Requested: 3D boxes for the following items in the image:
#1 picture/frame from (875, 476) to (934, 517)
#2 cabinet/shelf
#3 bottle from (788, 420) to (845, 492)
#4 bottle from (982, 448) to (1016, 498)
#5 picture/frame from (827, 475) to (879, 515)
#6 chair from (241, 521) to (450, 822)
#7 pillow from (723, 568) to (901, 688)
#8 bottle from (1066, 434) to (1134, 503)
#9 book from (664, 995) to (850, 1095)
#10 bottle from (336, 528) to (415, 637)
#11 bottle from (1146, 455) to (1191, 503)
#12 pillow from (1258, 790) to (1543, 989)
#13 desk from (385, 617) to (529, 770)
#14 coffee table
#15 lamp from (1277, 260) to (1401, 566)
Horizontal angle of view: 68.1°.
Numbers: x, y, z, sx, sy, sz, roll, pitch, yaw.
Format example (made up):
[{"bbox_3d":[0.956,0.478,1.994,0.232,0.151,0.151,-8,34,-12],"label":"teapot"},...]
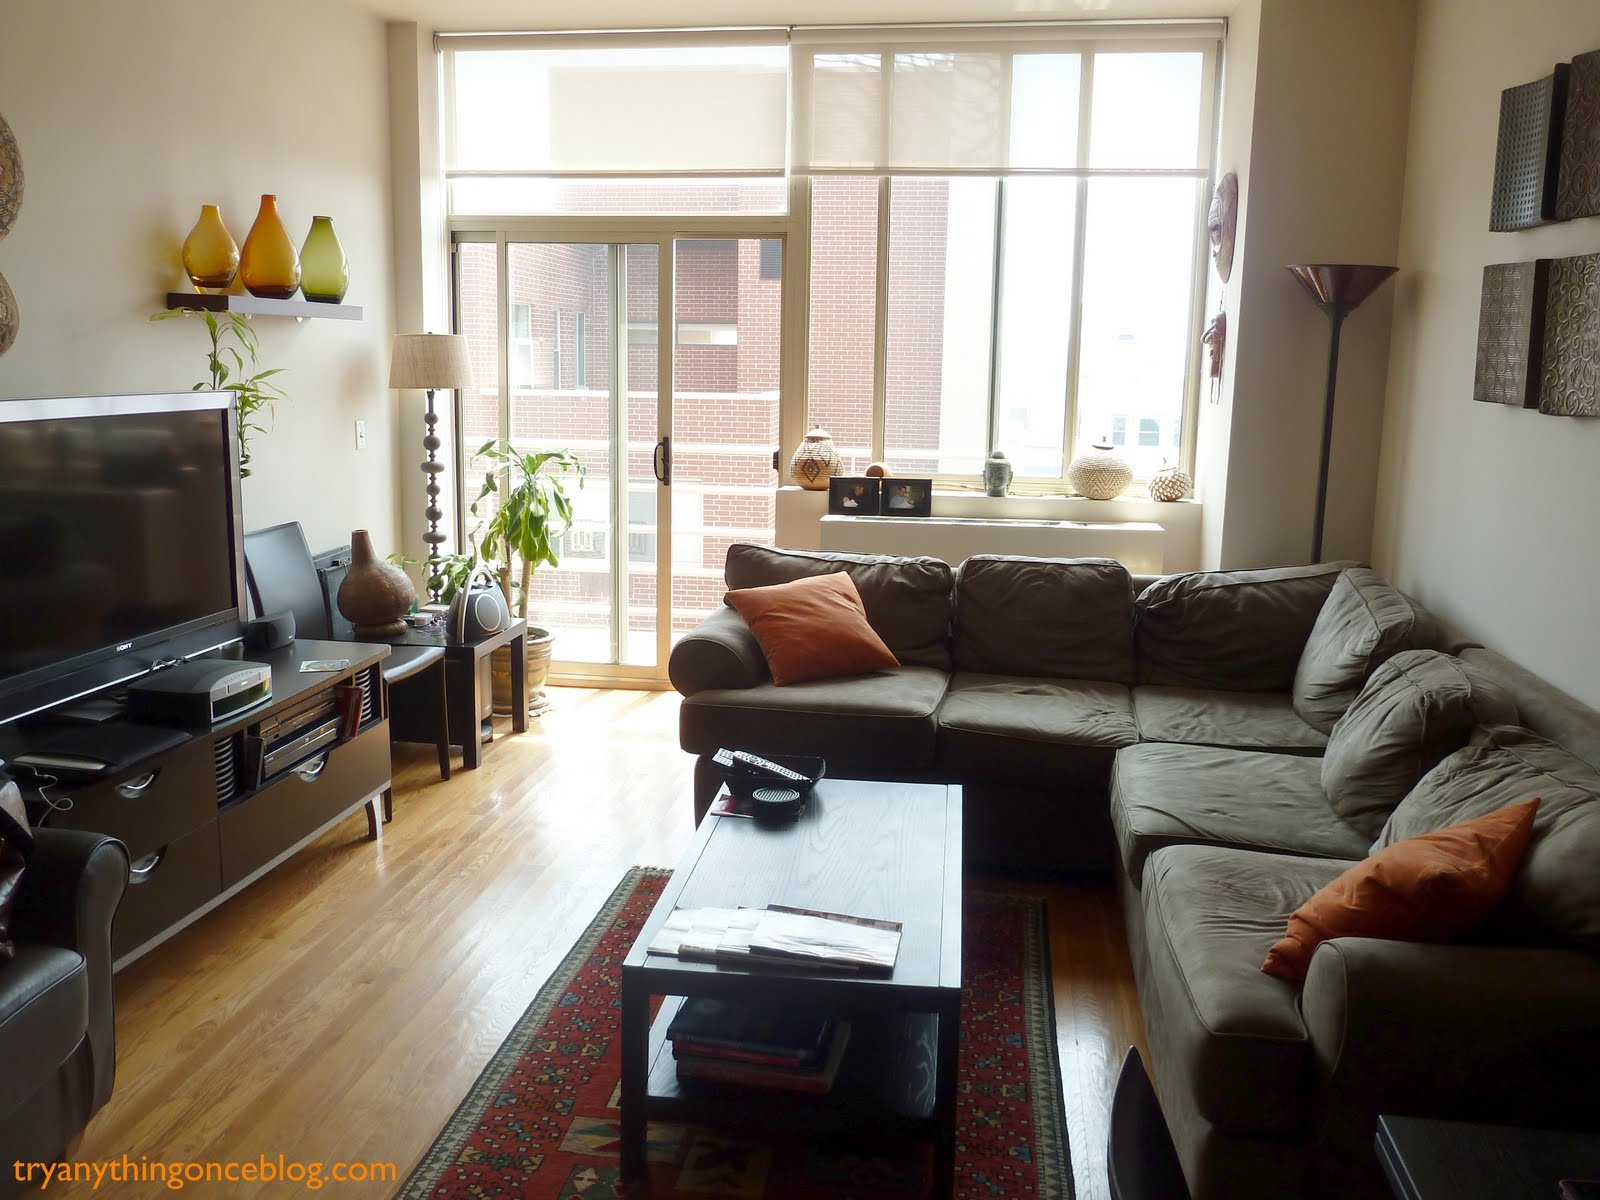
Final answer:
[{"bbox_3d":[0.491,-0.463,5.414,0.278,0.206,0.151,1,8,6],"label":"picture/frame"},{"bbox_3d":[-1.722,0.598,3.344,0.280,0.432,0.880,3,12,9],"label":"cabinet/shelf"},{"bbox_3d":[0.071,-0.675,5.528,0.260,0.364,0.267,0,4,0],"label":"bottle"},{"bbox_3d":[0.923,-0.579,5.516,0.117,0.211,0.116,0,15,0],"label":"bottle"},{"bbox_3d":[0.247,-0.463,5.401,0.275,0.202,0.153,1,8,7],"label":"picture/frame"},{"bbox_3d":[-1.779,0.275,4.628,0.675,0.990,0.584,5,12,14],"label":"chair"},{"bbox_3d":[0.061,-0.003,4.310,0.467,0.145,0.438,-2,46,-26],"label":"pillow"},{"bbox_3d":[1.376,-0.577,5.397,0.263,0.252,0.257,0,4,5],"label":"bottle"},{"bbox_3d":[-0.091,0.993,2.668,0.268,0.081,0.272,3,8,4],"label":"book"},{"bbox_3d":[-1.736,-0.066,4.803,0.301,0.402,0.312,-4,16,1],"label":"bottle"},{"bbox_3d":[1.713,-0.538,5.444,0.197,0.201,0.153,1,9,23],"label":"bottle"},{"bbox_3d":[1.315,0.628,2.522,0.610,0.375,0.209,-3,15,-13],"label":"pillow"},{"bbox_3d":[-1.374,0.261,5.132,0.495,0.667,0.938,3,12,8],"label":"desk"},{"bbox_3d":[0.022,1.063,2.885,0.647,0.520,1.151,1,11,7],"label":"coffee table"},{"bbox_3d":[2.144,-0.746,4.809,0.393,1.198,0.438,7,16,25],"label":"lamp"}]
